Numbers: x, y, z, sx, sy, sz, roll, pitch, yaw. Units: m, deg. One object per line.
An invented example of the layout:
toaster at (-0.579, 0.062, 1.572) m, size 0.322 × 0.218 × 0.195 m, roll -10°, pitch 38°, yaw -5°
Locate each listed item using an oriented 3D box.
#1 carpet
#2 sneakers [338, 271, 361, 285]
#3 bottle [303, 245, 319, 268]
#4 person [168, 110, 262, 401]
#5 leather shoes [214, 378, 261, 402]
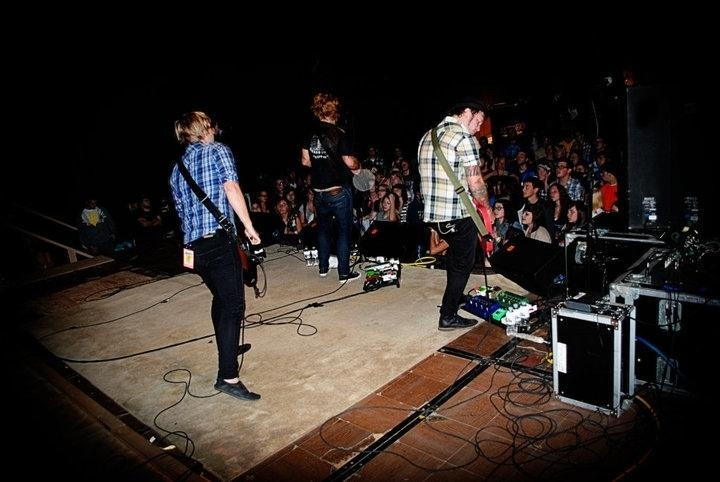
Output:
carpet at (-0.905, 1.101, 4.904) m, size 2.703 × 0.025 × 2.976 m, roll -18°, pitch 24°, yaw -41°
sneakers at (-0.156, 0.513, 6.345) m, size 0.306 × 0.121 × 0.121 m, roll -12°, pitch 15°, yaw -36°
bottle at (-0.768, 0.256, 7.107) m, size 0.224 × 0.279 × 0.296 m, roll -1°, pitch 11°, yaw 0°
person at (-1.255, 0.140, 4.099) m, size 0.567 × 2.557 × 0.757 m, roll -13°, pitch 16°, yaw -31°
leather shoes at (-1.114, 1.349, 4.215) m, size 0.478 × 0.173 × 0.157 m, roll 13°, pitch -1°, yaw 6°
